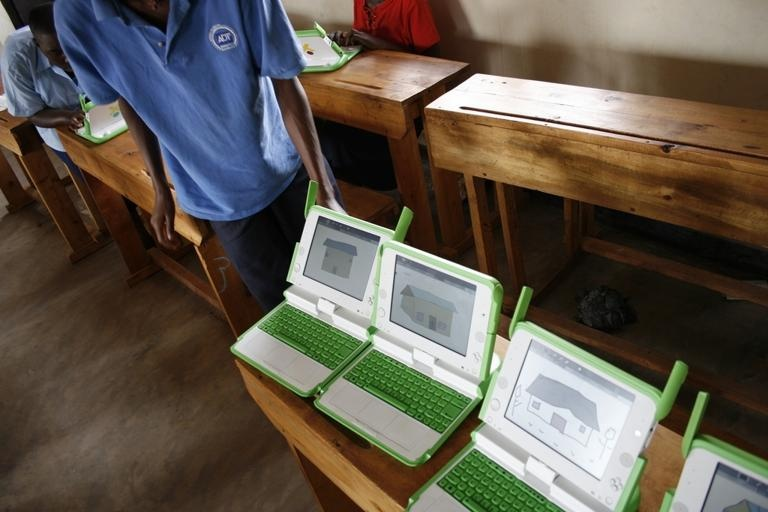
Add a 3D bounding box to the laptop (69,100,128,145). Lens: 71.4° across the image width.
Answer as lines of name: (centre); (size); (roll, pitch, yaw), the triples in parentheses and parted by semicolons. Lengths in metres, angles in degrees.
laptop: (-1.592, -0.744, 3.000); (0.197, 0.228, 0.236); (25, 45, 31)
